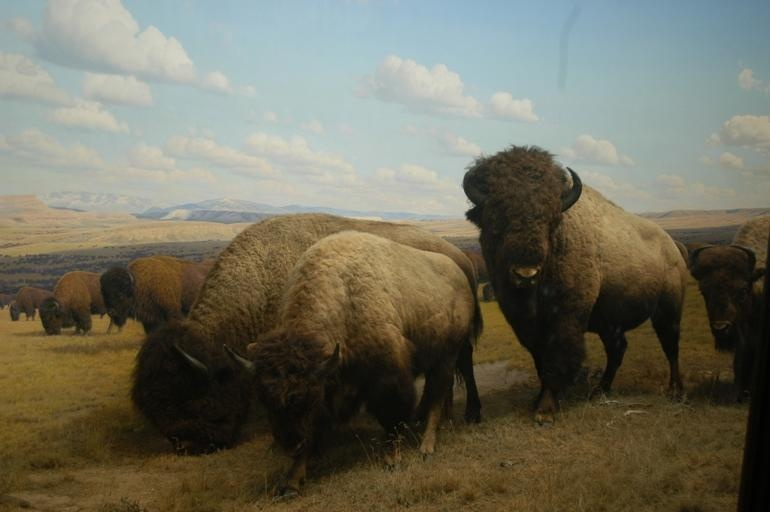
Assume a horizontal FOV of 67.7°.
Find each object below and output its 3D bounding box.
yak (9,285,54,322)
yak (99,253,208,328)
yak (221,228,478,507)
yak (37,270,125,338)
[{"bbox_3d":[-4.810,0.614,7.724,0.192,0.471,0.663,1,4,6],"label":"yak"},{"bbox_3d":[-3.526,0.503,8.582,2.129,1.141,0.673,-7,-3,-43],"label":"yak"},{"bbox_3d":[-0.005,1.066,6.712,1.270,2.422,3.906,-4,-1,31],"label":"yak"},{"bbox_3d":[-4.397,0.624,8.082,0.838,0.828,0.393,-2,5,-34],"label":"yak"}]
